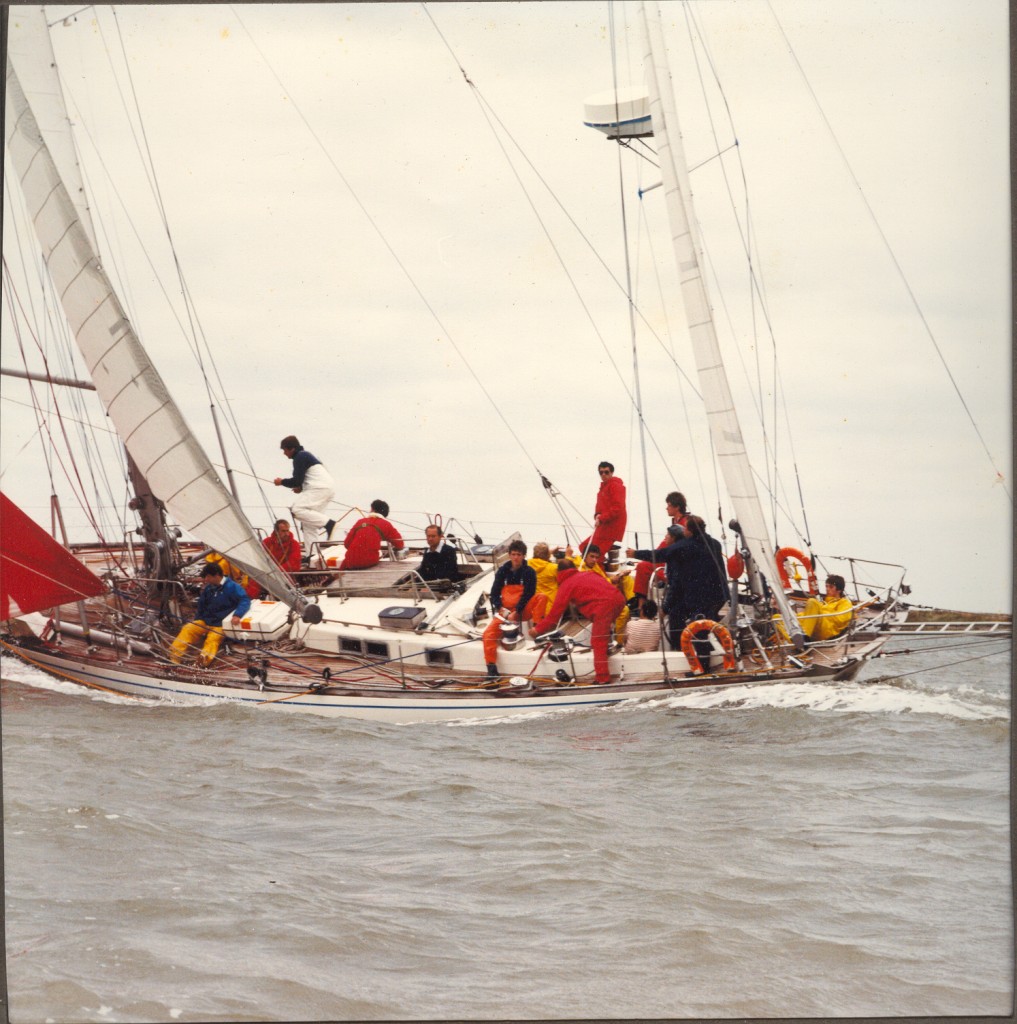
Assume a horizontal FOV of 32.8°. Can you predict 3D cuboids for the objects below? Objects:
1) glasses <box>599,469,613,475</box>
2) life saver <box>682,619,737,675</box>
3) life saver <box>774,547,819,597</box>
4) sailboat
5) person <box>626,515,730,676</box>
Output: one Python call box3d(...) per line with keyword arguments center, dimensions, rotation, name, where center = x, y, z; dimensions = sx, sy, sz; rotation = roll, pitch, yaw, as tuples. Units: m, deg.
box3d(center=(0.480, -0.196, 8.421), dimensions=(0.050, 0.027, 0.037), rotation=(4, 3, 2), name="glasses")
box3d(center=(0.931, 0.628, 8.074), dimensions=(0.325, 0.238, 0.086), rotation=(6, 7, -2), name="life saver")
box3d(center=(1.499, 0.296, 8.850), dimensions=(0.288, 0.216, 0.071), rotation=(6, -7, -30), name="life saver")
box3d(center=(0.285, -1.028, 8.592), dimensions=(4.417, 3.337, 1.727), rotation=(-3, -21, 12), name="sailboat")
box3d(center=(0.770, 0.359, 8.026), dimensions=(0.437, 0.610, 0.314), rotation=(-1, -8, 17), name="person")
